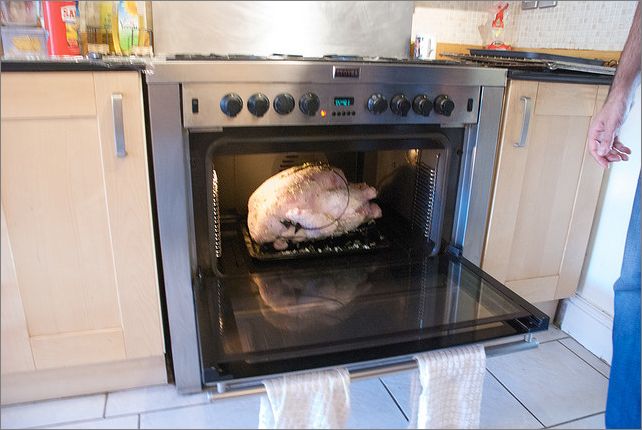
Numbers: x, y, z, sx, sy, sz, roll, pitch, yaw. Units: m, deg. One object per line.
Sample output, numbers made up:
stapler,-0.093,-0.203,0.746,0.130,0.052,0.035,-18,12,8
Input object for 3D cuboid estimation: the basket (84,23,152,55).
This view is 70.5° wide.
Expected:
basket,-0.832,-0.702,1.916,0.263,0.158,0.225,1,17,-11

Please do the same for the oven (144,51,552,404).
oven,0.062,0.097,2.061,1.485,1.389,1.297,-6,25,-13

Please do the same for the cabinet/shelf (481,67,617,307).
cabinet/shelf,0.883,-0.163,2.134,0.509,0.929,0.539,-4,22,-14

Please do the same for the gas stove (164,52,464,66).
gas stove,-0.052,-0.577,1.675,0.664,0.045,0.385,-3,21,-16

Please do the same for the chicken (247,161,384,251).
chicken,-0.021,-0.062,1.893,0.563,0.292,0.397,-12,31,-11
